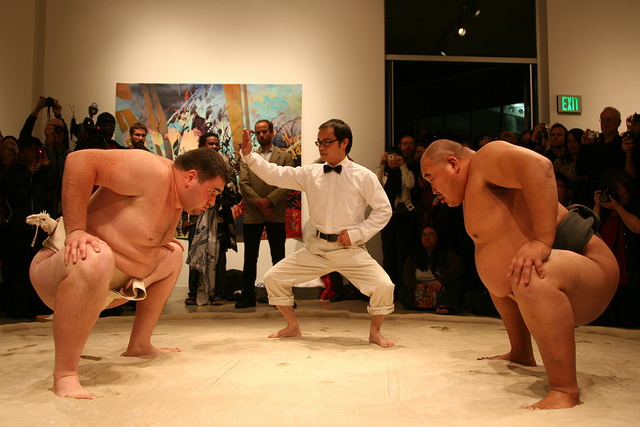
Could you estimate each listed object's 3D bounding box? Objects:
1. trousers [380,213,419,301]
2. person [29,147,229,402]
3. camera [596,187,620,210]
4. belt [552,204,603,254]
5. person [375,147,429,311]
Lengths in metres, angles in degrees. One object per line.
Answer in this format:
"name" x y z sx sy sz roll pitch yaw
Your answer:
"trousers" 0.962 0.497 5.947 0.478 1.022 0.337 3 9 26
"person" -1.221 0.303 3.233 1.084 1.525 1.458 3 -2 6
"camera" 2.595 -0.152 4.443 0.135 0.148 0.145 -4 -7 36
"belt" 1.549 0.070 3.130 0.238 0.330 0.335 23 3 -2
"person" 1.048 0.387 6.182 0.734 2.568 0.619 -5 34 4
